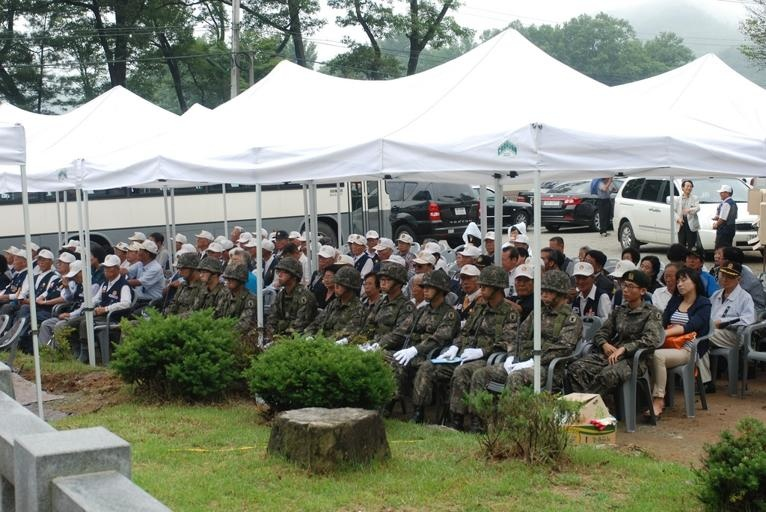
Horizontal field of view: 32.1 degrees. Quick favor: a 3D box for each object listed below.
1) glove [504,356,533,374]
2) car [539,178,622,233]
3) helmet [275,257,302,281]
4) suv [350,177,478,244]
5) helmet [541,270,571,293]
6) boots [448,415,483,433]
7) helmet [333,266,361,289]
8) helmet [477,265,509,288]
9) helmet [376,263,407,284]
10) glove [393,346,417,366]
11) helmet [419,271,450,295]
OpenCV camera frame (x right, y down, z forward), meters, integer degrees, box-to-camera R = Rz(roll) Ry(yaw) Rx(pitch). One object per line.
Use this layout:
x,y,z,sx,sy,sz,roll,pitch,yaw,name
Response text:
2.227,1.762,21.809,0.307,0.104,0.302,-20,24,-15,glove
5.993,-1.554,40.036,2.609,0.817,1.177,-8,7,-36,car
-1.697,0.210,24.055,0.448,0.331,0.340,-6,2,-20,helmet
0.870,-1.306,36.902,3.096,1.427,1.667,9,7,11,suv
2.882,0.417,22.155,0.423,0.212,0.349,18,0,0,helmet
1.348,2.699,21.832,0.489,0.308,0.872,0,1,-10,boots
-0.607,0.367,23.419,0.338,0.339,0.446,9,11,32,helmet
1.891,0.356,22.488,0.407,0.316,0.365,11,1,-6,helmet
0.189,0.269,23.045,0.325,0.236,0.436,7,-21,31,helmet
0.395,1.674,22.565,0.410,0.295,0.143,0,1,-5,glove
0.897,0.440,22.814,0.457,0.262,0.350,-4,6,-15,helmet
